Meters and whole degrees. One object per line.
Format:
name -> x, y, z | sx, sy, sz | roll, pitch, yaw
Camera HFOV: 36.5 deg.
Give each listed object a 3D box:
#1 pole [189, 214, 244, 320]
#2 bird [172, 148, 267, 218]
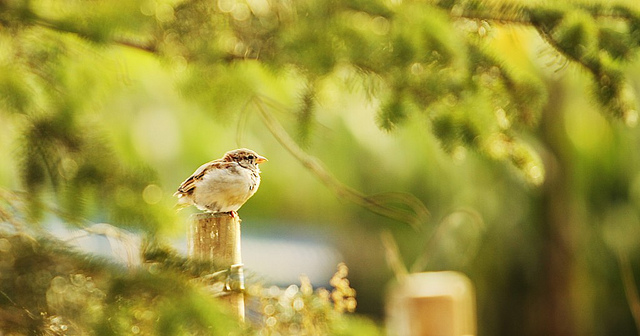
pole -> -0.878, 0.828, 8.315 | 0.482, 0.892, 0.385 | 2, -10, -9
bird -> -0.987, 0.154, 9.431 | 1.045, 0.640, 0.607 | -1, -4, 18
